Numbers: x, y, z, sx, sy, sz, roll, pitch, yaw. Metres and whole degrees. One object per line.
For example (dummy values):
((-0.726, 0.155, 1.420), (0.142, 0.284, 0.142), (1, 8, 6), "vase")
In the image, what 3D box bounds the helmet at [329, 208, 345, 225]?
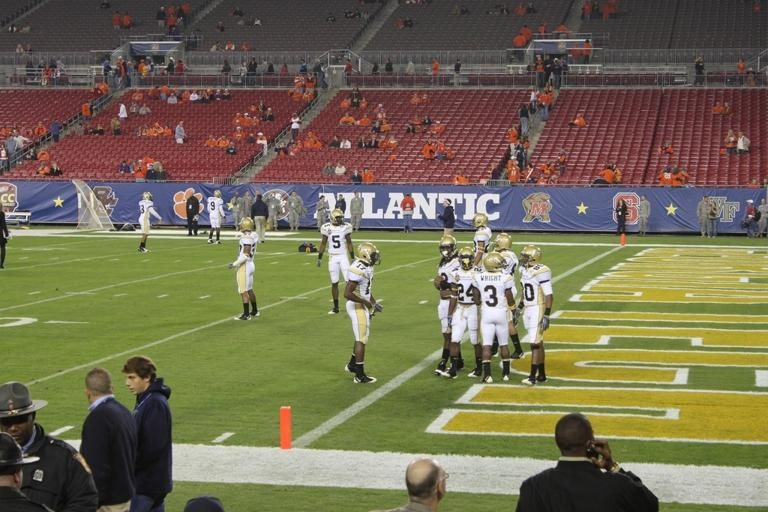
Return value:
((-1.366, -1.202, 41.182), (0.372, 0.446, 0.458), (1, -13, -11), "helmet")

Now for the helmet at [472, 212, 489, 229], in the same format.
((2.754, -1.034, 40.000), (0.472, 0.396, 0.365), (10, 8, 13), "helmet")
